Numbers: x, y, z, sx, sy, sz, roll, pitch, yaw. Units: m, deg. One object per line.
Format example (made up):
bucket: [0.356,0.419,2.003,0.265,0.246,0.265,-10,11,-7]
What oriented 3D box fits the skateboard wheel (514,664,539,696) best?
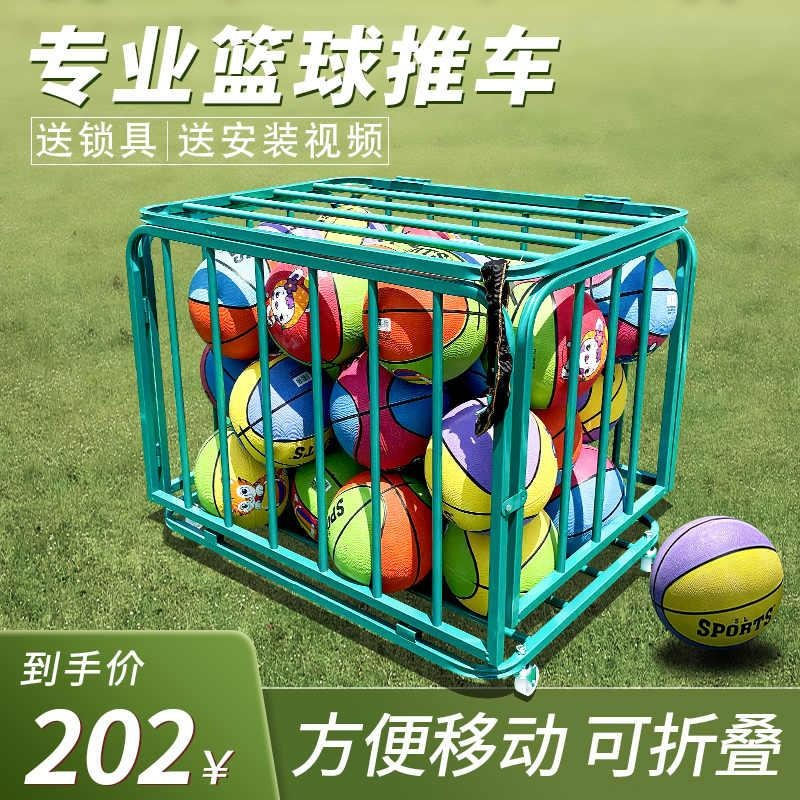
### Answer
skateboard wheel: [0.372,0.821,2.381,0.067,0.103,0.036,8,7,-36]

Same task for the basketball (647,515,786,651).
basketball: [0.924,0.522,2.428,0.386,0.445,0.343,-2,4,9]
